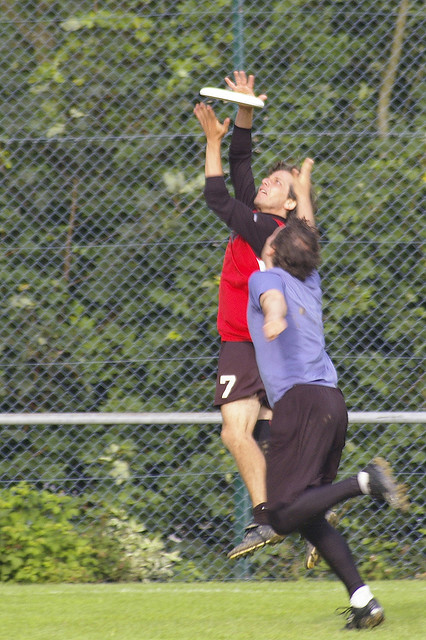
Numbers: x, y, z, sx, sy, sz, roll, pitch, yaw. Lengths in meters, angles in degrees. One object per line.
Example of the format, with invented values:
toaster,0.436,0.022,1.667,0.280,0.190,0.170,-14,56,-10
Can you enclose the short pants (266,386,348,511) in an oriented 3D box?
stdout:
short pants,0.255,0.376,2.559,0.259,0.331,0.274,1,-17,14
